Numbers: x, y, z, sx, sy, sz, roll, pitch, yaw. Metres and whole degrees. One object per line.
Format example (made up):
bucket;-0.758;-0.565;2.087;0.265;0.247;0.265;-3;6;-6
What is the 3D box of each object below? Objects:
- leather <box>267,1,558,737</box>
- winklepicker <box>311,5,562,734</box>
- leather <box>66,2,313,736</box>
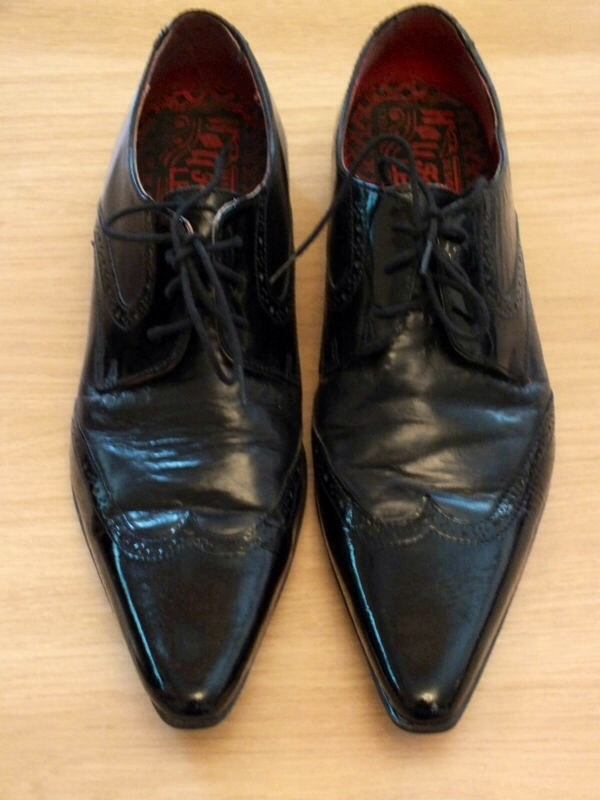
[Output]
leather;0.116;-0.032;0.937;0.276;0.258;0.689;0;75;5
winklepicker;0.114;-0.025;0.930;0.252;0.237;0.677;0;74;4
leather;-0.057;-0.019;0.898;0.248;0.249;0.658;3;70;-3
